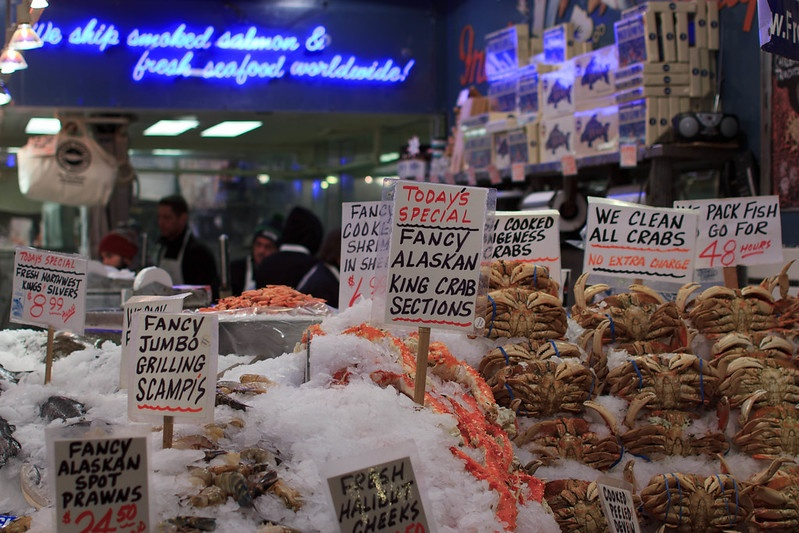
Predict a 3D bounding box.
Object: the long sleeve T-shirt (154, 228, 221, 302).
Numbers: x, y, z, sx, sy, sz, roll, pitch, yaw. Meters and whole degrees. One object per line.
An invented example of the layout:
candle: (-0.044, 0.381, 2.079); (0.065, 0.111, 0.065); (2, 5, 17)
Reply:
long sleeve T-shirt: (-1.767, -0.022, 6.158); (0.660, 0.673, 0.366); (8, 3, 15)

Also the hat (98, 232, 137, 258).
hat: (-2.241, -0.172, 5.954); (0.282, 0.227, 0.180); (3, -5, -22)

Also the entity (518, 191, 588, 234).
entity: (1.166, -0.472, 5.681); (0.319, 0.326, 0.532); (1, 10, -17)

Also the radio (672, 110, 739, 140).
radio: (1.810, -0.819, 4.357); (0.434, 0.162, 0.100); (2, -4, -13)

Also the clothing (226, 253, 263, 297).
clothing: (-1.492, 0.083, 7.156); (0.359, 0.421, 0.146); (-5, -8, 27)

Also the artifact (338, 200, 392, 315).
artifact: (-0.192, -0.051, 3.255); (0.228, 0.486, 0.117); (-2, -5, 40)

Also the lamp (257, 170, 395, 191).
lamp: (-1.055, -1.229, 10.598); (1.775, 0.279, 0.328); (3, -5, -24)

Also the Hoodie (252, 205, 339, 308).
Hoodie: (-0.709, -0.087, 5.331); (0.413, 0.716, 0.656); (4, -5, -37)
